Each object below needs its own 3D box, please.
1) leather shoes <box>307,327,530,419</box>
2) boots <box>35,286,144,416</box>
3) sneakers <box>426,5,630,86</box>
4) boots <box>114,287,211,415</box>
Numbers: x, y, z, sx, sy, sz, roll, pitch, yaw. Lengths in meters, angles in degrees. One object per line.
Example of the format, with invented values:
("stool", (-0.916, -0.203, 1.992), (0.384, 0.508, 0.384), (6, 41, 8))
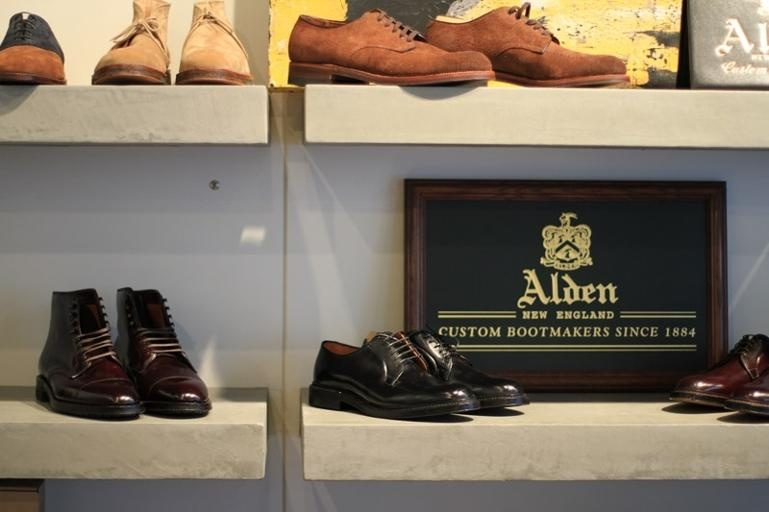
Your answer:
("leather shoes", (0.061, 0.221, 1.553), (0.317, 0.107, 0.200), (-1, -5, 25))
("boots", (-0.611, 0.202, 1.565), (0.146, 0.231, 0.365), (2, 3, -44))
("sneakers", (0.304, -0.428, 1.584), (0.483, 0.175, 0.157), (2, 3, 4))
("boots", (-0.472, 0.192, 1.595), (0.135, 0.177, 0.384), (-3, 13, -39))
